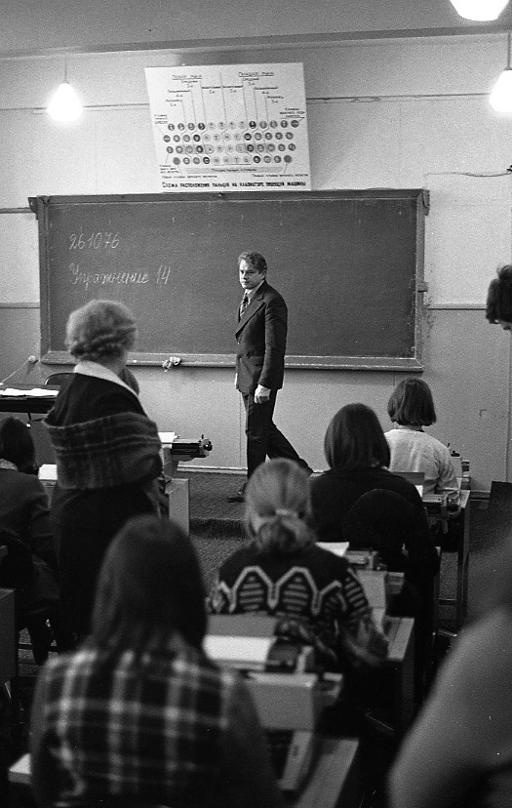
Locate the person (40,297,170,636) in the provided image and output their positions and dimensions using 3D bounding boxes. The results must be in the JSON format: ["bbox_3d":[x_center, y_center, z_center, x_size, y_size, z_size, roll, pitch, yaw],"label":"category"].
[{"bbox_3d":[-0.362,0.257,2.131,0.343,0.977,0.298,-1,3,39],"label":"person"}]

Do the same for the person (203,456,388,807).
[{"bbox_3d":[0.101,0.490,1.685,0.283,0.808,0.286,5,23,21],"label":"person"}]

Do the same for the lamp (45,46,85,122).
[{"bbox_3d":[-1.171,-1.935,5.011,0.143,0.316,0.161,4,11,9],"label":"lamp"}]
